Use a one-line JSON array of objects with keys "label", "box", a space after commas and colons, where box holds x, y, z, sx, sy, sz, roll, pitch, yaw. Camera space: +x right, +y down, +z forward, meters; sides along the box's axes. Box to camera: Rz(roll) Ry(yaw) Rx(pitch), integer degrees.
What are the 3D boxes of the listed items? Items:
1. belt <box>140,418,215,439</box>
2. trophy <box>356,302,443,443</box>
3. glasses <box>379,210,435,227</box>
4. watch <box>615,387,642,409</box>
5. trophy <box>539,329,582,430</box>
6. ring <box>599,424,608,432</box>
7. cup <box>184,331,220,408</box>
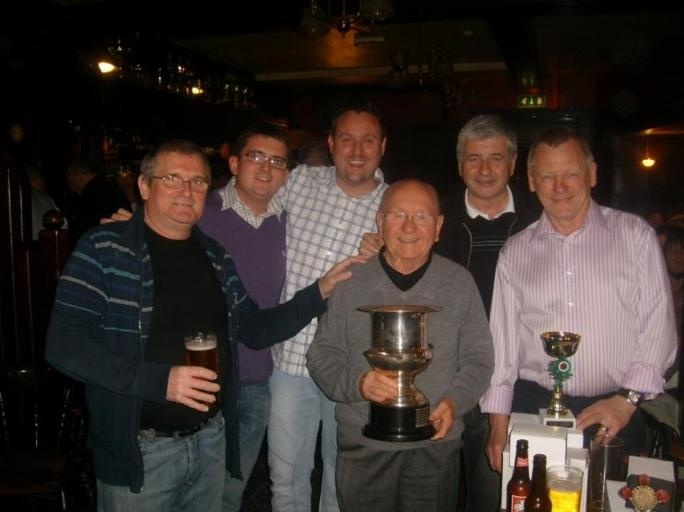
[{"label": "belt", "box": [-0.812, 0.836, 2.948, 0.179, 0.038, 0.158, 4, -1, 2]}, {"label": "trophy", "box": [0.256, 0.543, 2.850, 0.358, 0.615, 0.136, 2, -4, 4]}, {"label": "glasses", "box": [0.332, -0.188, 3.051, 0.227, 0.074, 0.028, 1, -4, 4]}, {"label": "watch", "box": [1.442, 0.706, 3.059, 0.105, 0.060, 0.100, 27, -9, -40]}, {"label": "trophy", "box": [1.078, 0.620, 3.053, 0.221, 0.430, 0.205, -1, -8, 44]}, {"label": "ring", "box": [1.280, 0.853, 3.013, 0.037, 0.027, 0.035, 6, -9, 1]}, {"label": "cup", "box": [-0.634, 0.525, 2.795, 0.150, 0.347, 0.161, 1, -3, 0]}]
